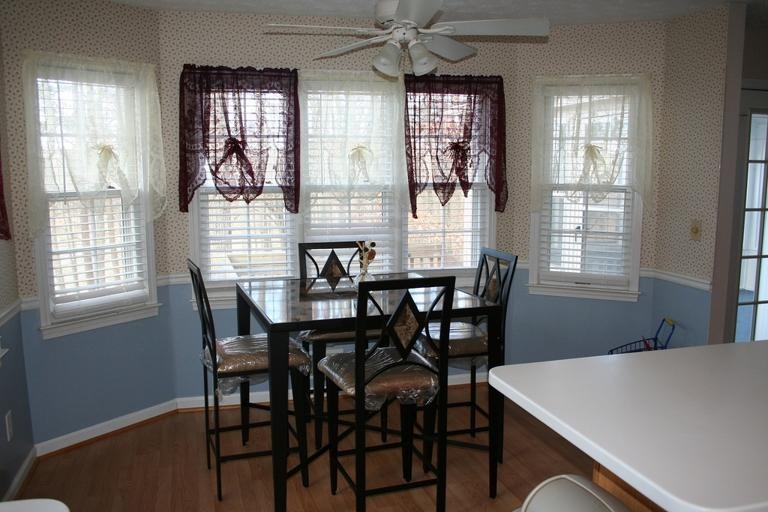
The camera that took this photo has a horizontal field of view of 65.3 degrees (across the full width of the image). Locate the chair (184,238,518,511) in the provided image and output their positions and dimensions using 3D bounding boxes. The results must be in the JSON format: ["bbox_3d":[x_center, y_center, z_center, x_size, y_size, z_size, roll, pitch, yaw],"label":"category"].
[{"bbox_3d":[-0.123,0.791,4.221,1.693,1.333,1.613,-2,7,-14],"label":"chair"}]
